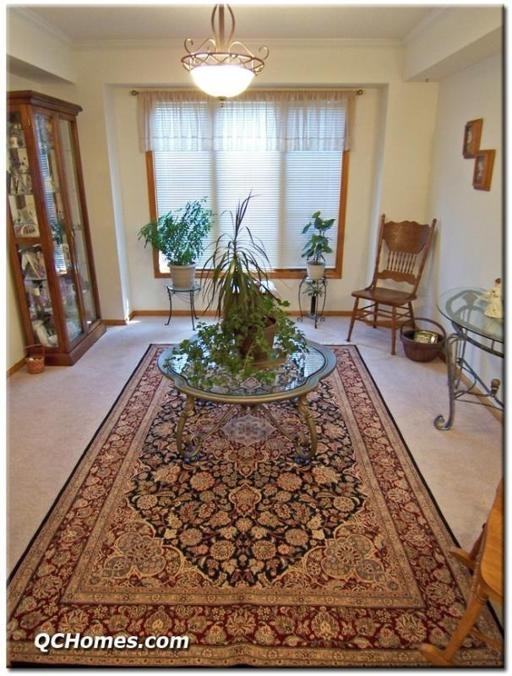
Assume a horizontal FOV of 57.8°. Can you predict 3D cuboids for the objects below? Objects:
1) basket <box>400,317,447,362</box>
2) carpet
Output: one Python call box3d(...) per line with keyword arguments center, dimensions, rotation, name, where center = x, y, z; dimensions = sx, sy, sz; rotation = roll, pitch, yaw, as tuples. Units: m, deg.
box3d(center=(1.488, 0.026, 4.149), dimensions=(0.392, 0.407, 0.432), rotation=(3, 17, 13), name="basket")
box3d(center=(-0.060, 0.819, 2.283), dimensions=(1.903, 0.055, 1.741), rotation=(-1, 18, -6), name="carpet")
